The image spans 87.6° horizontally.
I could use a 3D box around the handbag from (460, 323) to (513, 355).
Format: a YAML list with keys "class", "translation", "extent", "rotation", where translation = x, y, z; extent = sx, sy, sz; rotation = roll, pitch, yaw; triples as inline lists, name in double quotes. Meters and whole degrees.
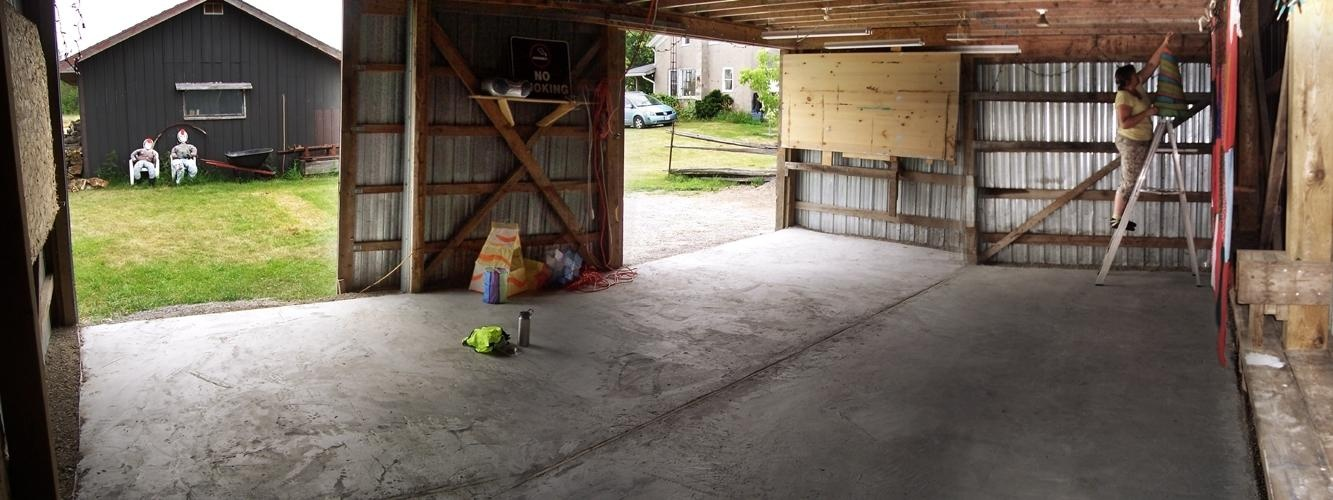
- class: "handbag"
  translation: [-3.402, 1.744, 13.345]
  extent: [1.045, 0.450, 0.447]
  rotation: [1, 12, 8]

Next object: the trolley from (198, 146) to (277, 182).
- class: "trolley"
  translation: [-14.612, -2.859, 23.780]
  extent: [1.905, 0.606, 1.235]
  rotation: [-5, 13, -27]

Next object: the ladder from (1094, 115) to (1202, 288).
- class: "ladder"
  translation: [11.057, -1.036, 15.504]
  extent: [1.903, 3.503, 2.332]
  rotation: [8, 15, 34]

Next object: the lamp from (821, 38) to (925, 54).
- class: "lamp"
  translation: [5.177, -5.058, 17.303]
  extent: [2.399, 0.212, 0.716]
  rotation: [6, 12, 30]

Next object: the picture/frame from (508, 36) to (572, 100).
- class: "picture/frame"
  translation: [-2.816, -3.923, 15.223]
  extent: [2.012, 1.323, 0.177]
  rotation: [2, -6, -26]

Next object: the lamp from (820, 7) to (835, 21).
- class: "lamp"
  translation: [3.724, -5.409, 16.026]
  extent: [0.223, 0.161, 0.198]
  rotation: [-22, 33, -18]

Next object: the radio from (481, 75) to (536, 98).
- class: "radio"
  translation: [-3.512, -3.433, 15.055]
  extent: [0.692, 0.226, 0.724]
  rotation: [7, 8, 40]

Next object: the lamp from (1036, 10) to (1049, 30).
- class: "lamp"
  translation: [8.260, -5.019, 15.222]
  extent: [0.320, 0.222, 0.211]
  rotation: [0, 3, 42]

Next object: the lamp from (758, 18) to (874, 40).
- class: "lamp"
  translation: [3.704, -5.233, 16.698]
  extent: [2.316, 0.400, 1.137]
  rotation: [-7, 13, -36]

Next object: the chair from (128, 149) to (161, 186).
- class: "chair"
  translation: [-17.099, -2.759, 22.788]
  extent: [1.005, 0.922, 0.966]
  rotation: [30, 30, 34]
